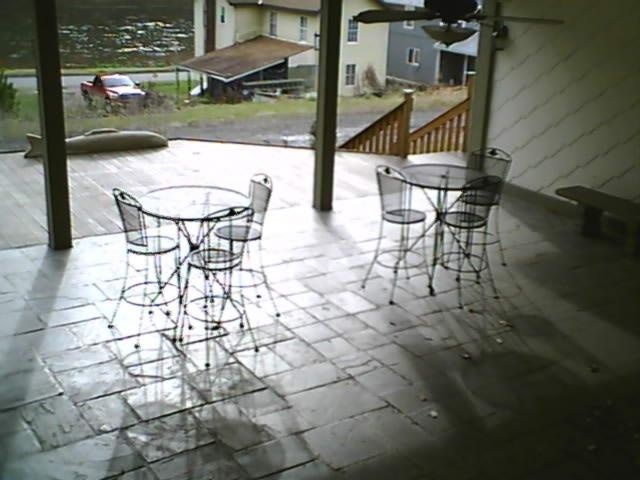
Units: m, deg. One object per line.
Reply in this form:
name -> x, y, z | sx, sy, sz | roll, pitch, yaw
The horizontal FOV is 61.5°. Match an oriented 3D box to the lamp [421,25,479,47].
lamp -> 0.997, -1.605, 4.170 | 0.227, 0.113, 0.220 | -9, 27, -23
